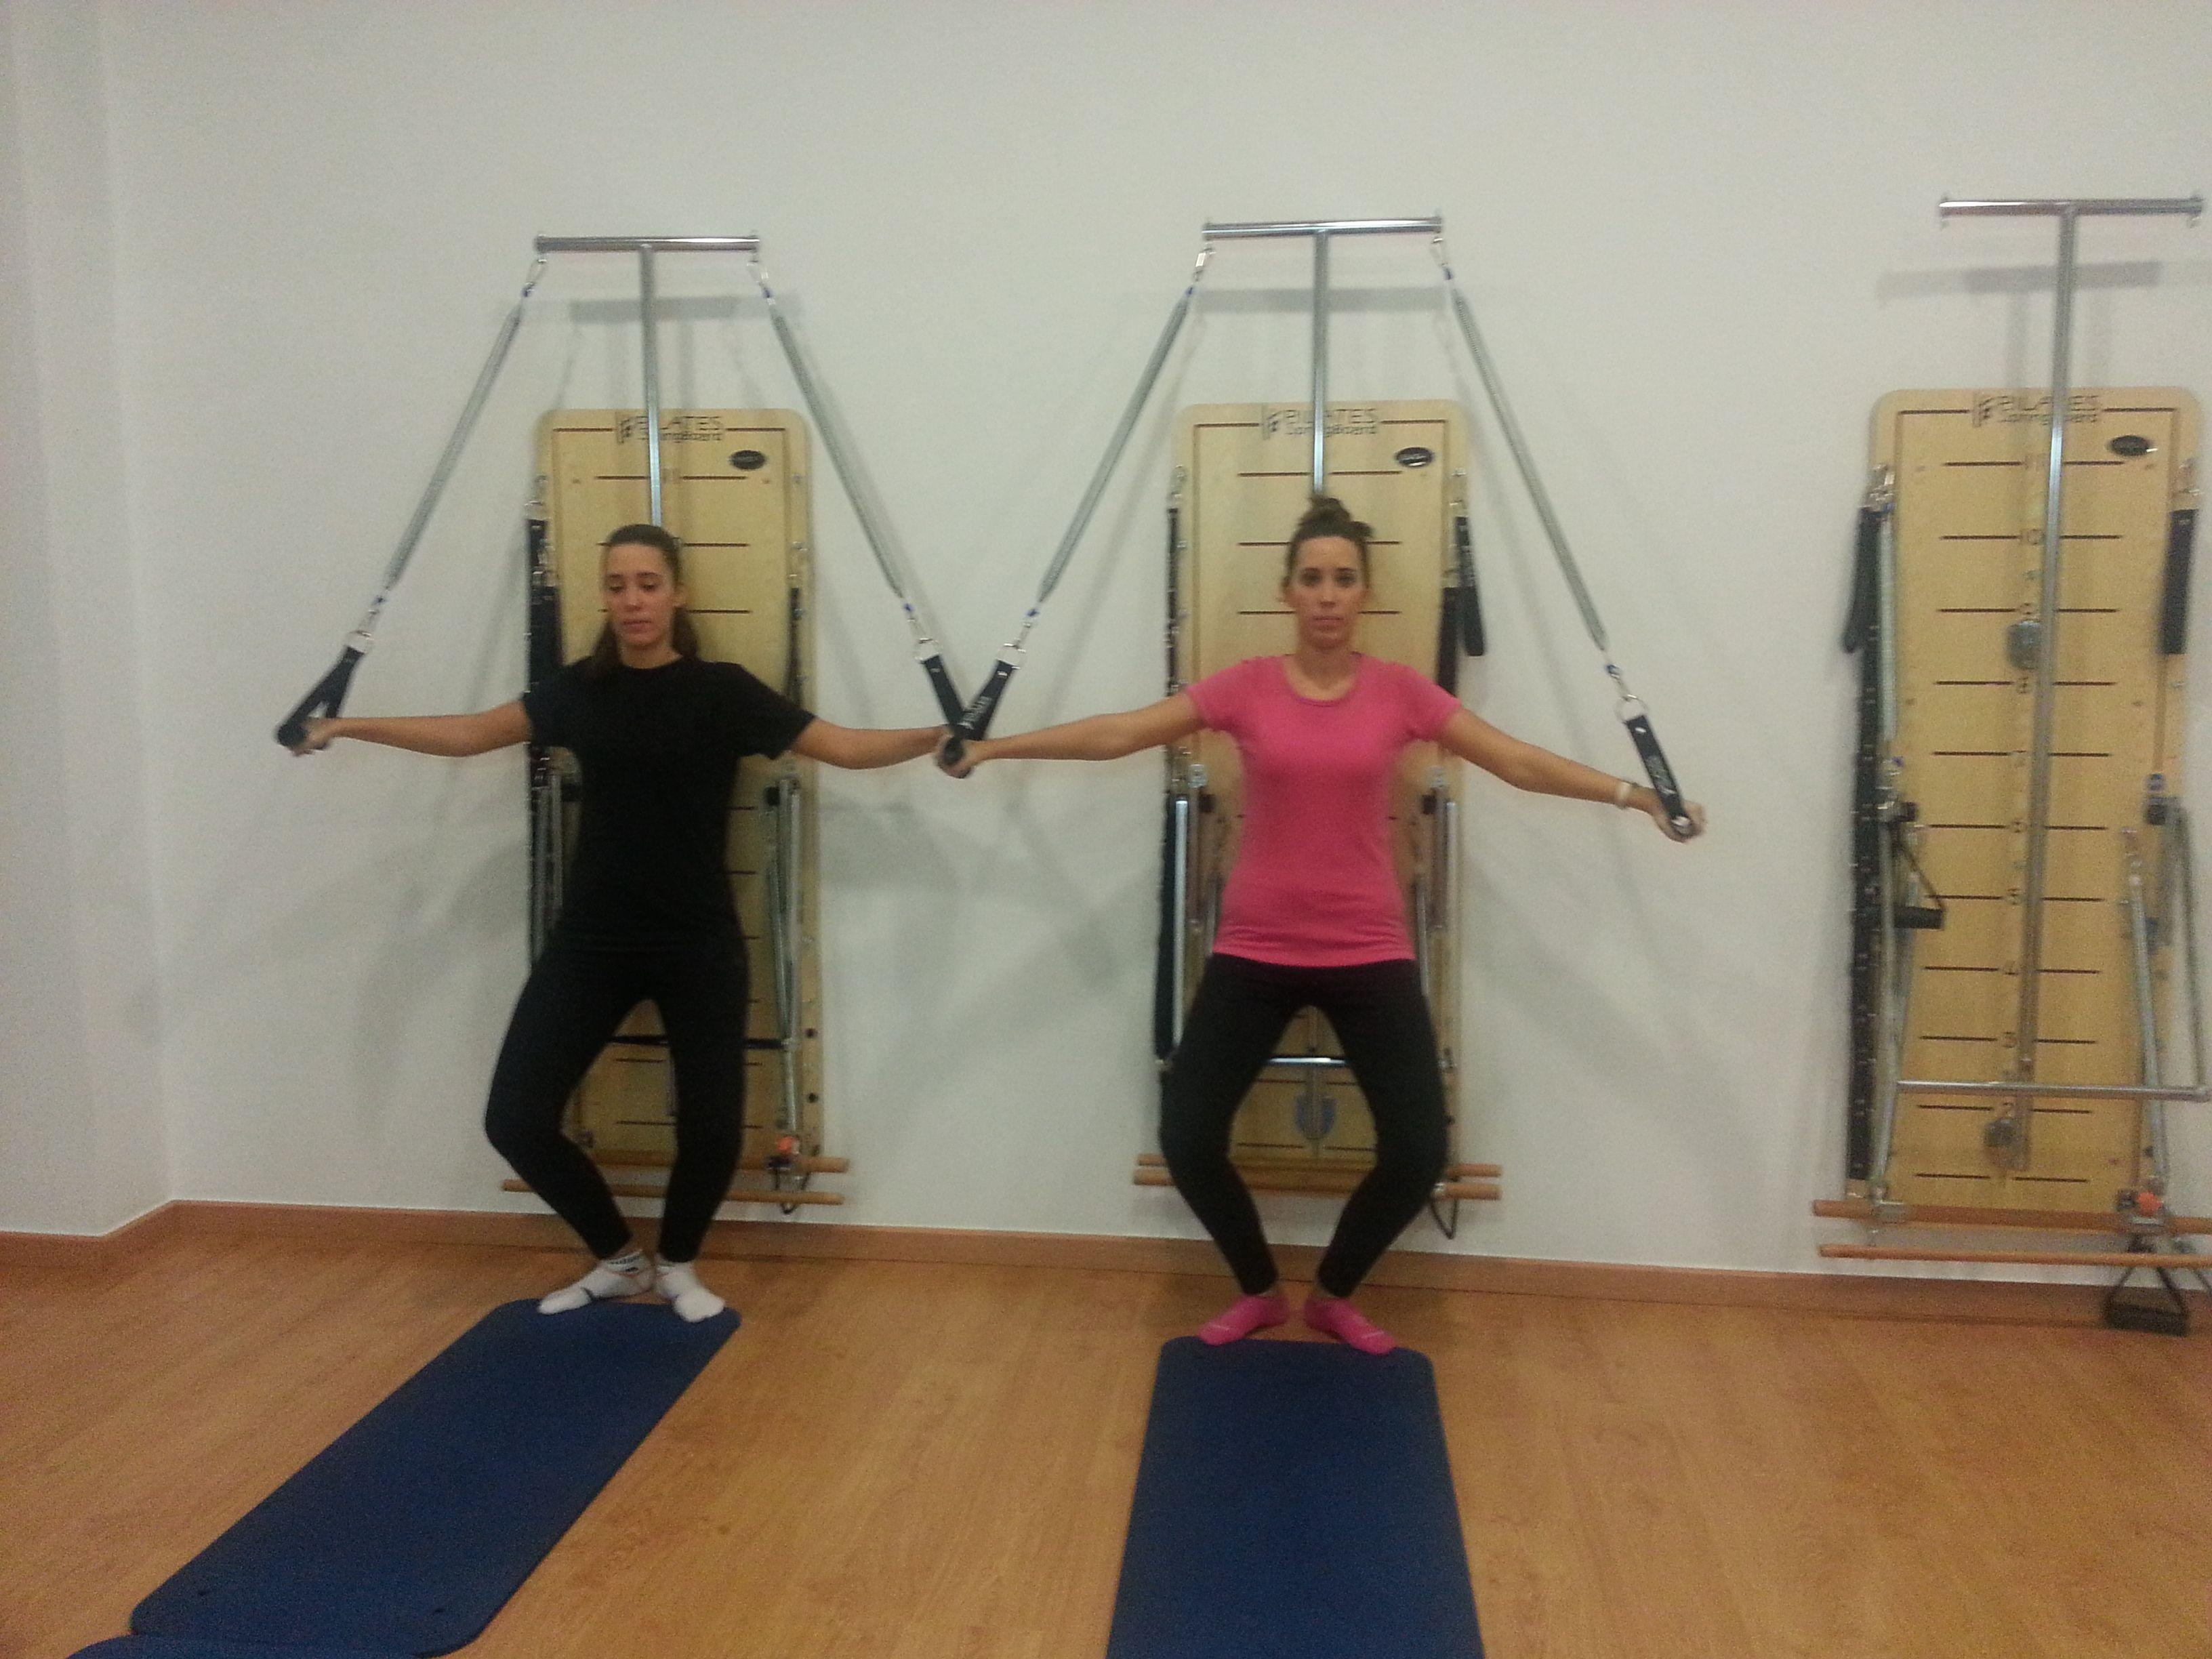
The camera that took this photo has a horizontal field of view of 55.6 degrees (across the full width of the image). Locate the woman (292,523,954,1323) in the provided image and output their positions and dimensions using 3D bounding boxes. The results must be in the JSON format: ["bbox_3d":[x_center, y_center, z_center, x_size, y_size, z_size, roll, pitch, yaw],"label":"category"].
[{"bbox_3d":[-0.923,0.124,3.945,1.539,1.643,0.386,0,0,-6],"label":"woman"}]

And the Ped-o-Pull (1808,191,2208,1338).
[{"bbox_3d":[1.643,-0.178,3.687,0.660,1.814,0.170,3,7,18],"label":"Ped-o-Pull"}]

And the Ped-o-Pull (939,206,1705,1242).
[{"bbox_3d":[0.451,-0.262,3.850,1.976,2.215,0.169,-1,0,3],"label":"Ped-o-Pull"}]

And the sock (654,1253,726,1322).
[{"bbox_3d":[-0.793,0.877,3.945,0.086,0.037,0.136,-20,51,-35],"label":"sock"}]

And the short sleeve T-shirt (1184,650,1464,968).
[{"bbox_3d":[0.401,-0.041,3.744,0.570,0.581,0.214,1,4,2],"label":"short sleeve T-shirt"}]

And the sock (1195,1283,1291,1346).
[{"bbox_3d":[0.260,0.909,3.914,0.211,0.088,0.071,-16,10,-12],"label":"sock"}]

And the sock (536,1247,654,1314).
[{"bbox_3d":[-0.955,0.869,3.966,0.255,0.110,0.084,-12,31,-7],"label":"sock"}]

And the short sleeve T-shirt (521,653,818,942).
[{"bbox_3d":[-0.820,-0.069,3.850,0.543,0.440,0.161,1,2,-5],"label":"short sleeve T-shirt"}]
